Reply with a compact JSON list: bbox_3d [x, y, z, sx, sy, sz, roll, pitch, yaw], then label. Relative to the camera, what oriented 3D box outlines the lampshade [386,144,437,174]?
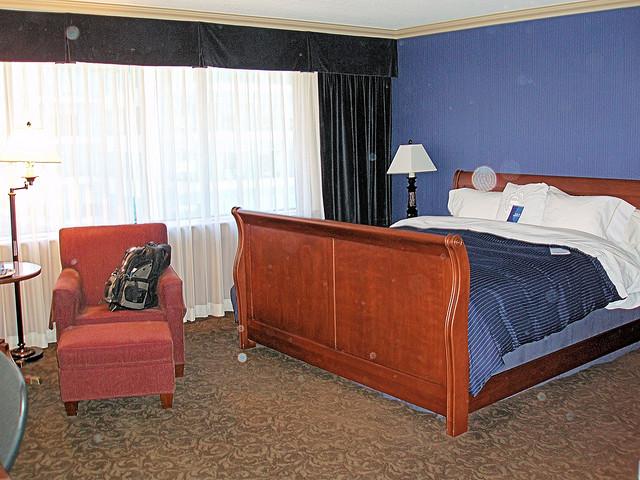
[{"bbox_3d":[1.147,-1.037,5.999,0.493,0.375,0.549,2,12,19],"label":"lampshade"}]

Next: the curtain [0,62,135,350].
[{"bbox_3d":[-2.475,-0.366,4.878,1.210,2.785,0.224,-9,13,-35],"label":"curtain"}]

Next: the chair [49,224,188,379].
[{"bbox_3d":[-1.788,0.514,4.214,1.161,1.329,1.210,-1,3,-3],"label":"chair"}]
